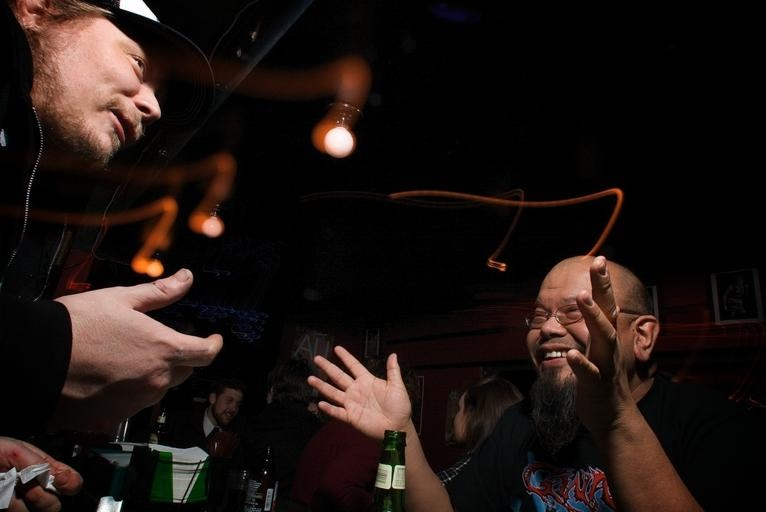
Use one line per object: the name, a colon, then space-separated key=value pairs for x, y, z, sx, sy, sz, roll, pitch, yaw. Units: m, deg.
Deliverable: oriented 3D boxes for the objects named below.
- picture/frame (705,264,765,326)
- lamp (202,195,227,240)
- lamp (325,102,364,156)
picture/frame: x=2.042 y=0.231 z=3.307 sx=0.326 sy=0.448 sz=0.019 roll=-6 pitch=-14 yaw=35
lamp: x=-1.730 y=-0.367 z=5.875 sx=0.211 sy=0.363 sz=0.212 roll=31 pitch=15 yaw=39
lamp: x=-0.287 y=-0.865 z=3.928 sx=0.216 sy=0.287 sz=0.280 roll=11 pitch=-13 yaw=-10
